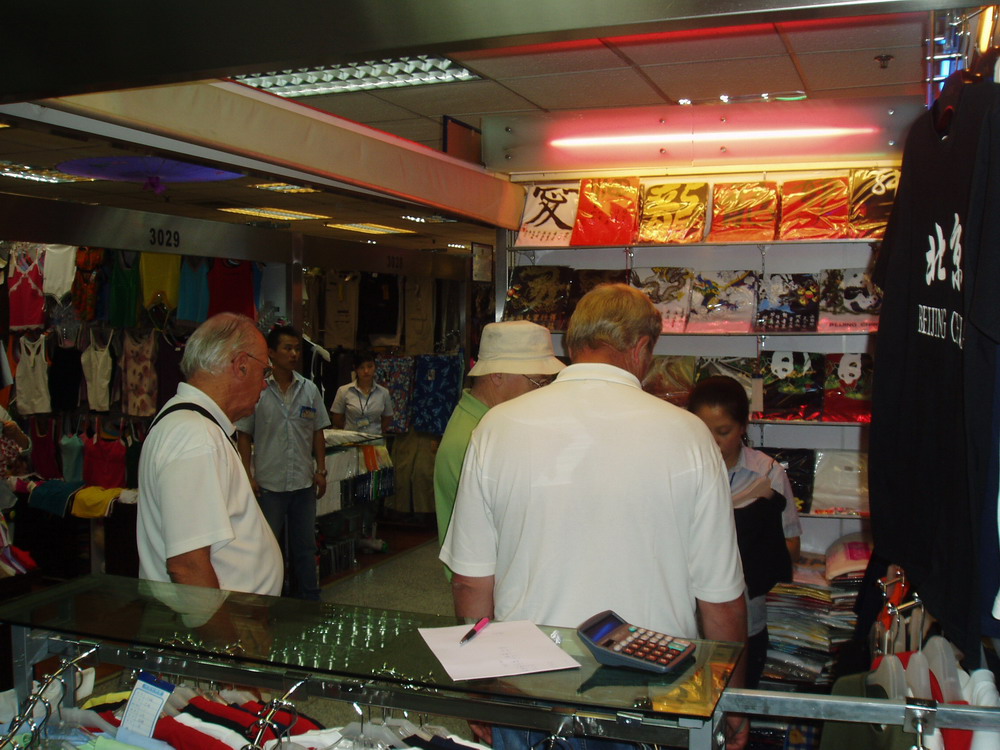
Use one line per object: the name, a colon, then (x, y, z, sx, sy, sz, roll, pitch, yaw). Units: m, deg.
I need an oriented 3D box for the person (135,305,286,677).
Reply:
person: (-0.852, 0.316, 2.233, 0.506, 1.071, 0.478, 0, 3, -25)

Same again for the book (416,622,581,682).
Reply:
book: (-0.006, 0.576, 1.516, 0.291, 0.061, 0.264, 5, -2, -16)

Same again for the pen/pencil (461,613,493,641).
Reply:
pen/pencil: (-0.051, 0.575, 1.615, 0.020, 0.016, 0.137, 11, 8, 21)

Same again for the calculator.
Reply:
calculator: (0.280, 0.547, 1.452, 0.218, 0.062, 0.143, 3, -2, 22)

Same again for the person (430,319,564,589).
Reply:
person: (-0.014, 0.287, 2.749, 0.440, 0.985, 0.423, 4, 8, 0)

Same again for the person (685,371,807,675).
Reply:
person: (1.154, 0.528, 3.327, 0.661, 1.465, 0.609, 4, 9, 14)
